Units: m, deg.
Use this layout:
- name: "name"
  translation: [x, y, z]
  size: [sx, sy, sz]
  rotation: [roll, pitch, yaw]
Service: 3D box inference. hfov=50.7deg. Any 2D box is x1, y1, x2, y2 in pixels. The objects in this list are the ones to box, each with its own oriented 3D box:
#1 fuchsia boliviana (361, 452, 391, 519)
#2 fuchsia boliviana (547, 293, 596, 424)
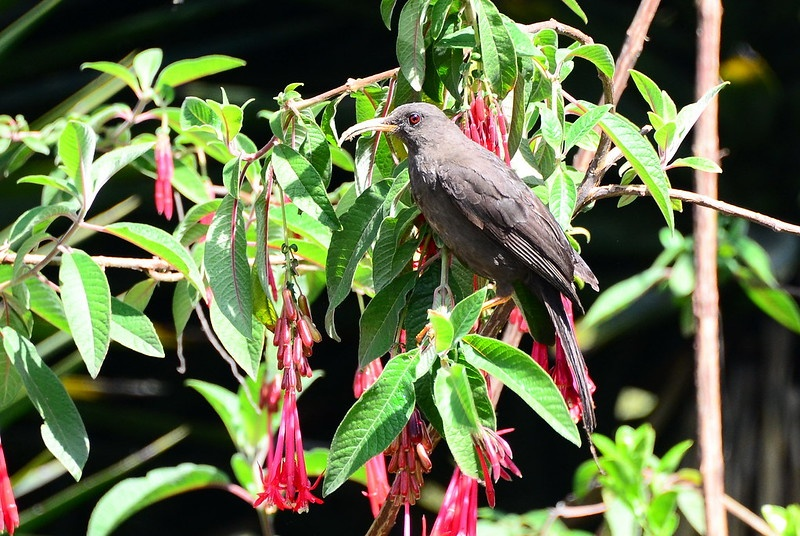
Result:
- name: "fuchsia boliviana"
  translation: [-0.103, 0.801, 3.135]
  size: [0.085, 0.309, 0.101]
  rotation: [-13, -23, 25]
- name: "fuchsia boliviana"
  translation: [0.586, 0.325, 2.862]
  size: [0.115, 0.471, 0.138]
  rotation: [-6, -5, 31]
